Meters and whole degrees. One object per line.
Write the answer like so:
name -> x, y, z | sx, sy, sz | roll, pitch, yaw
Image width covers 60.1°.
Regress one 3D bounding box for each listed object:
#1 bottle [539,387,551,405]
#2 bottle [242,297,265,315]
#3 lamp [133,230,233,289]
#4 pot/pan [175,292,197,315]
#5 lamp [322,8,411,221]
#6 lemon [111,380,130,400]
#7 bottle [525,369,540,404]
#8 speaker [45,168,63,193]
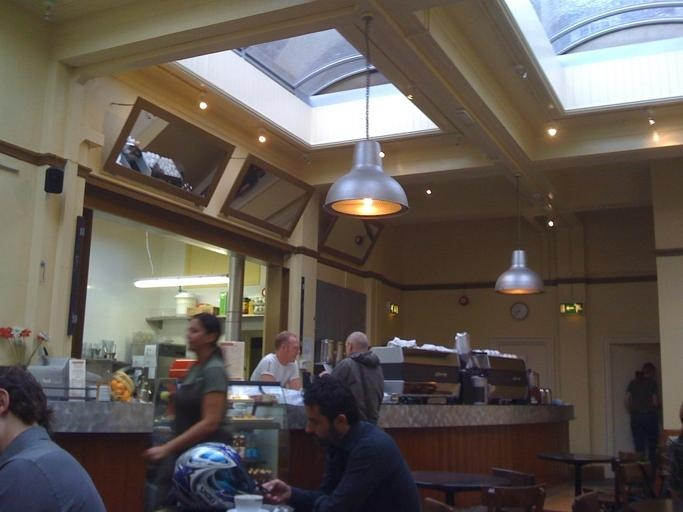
bottle -> 2.927, 2.030, 8.491 | 0.205, 0.202, 0.294 | 0, -8, 23
bottle -> -1.326, 0.766, 8.922 | 0.321, 0.296, 0.228 | 3, -12, -4
lamp -> -2.552, 0.158, 8.875 | 1.877, 0.990, 0.582 | -1, -10, -11
pot/pan -> -2.415, 0.774, 9.273 | 0.322, 0.315, 0.298 | 0, -21, 2
lamp -> 0.230, -1.192, 5.625 | 0.678, 1.921, 1.923 | 3, -12, -1
lemon -> -1.596, 0.976, 4.274 | 0.149, 0.138, 0.285 | 7, -13, -19
bottle -> 2.675, 1.809, 8.165 | 0.147, 0.458, 0.684 | -2, -13, 20
speaker -> -2.593, -0.673, 5.311 | 0.148, 0.237, 0.084 | 9, -14, -28
